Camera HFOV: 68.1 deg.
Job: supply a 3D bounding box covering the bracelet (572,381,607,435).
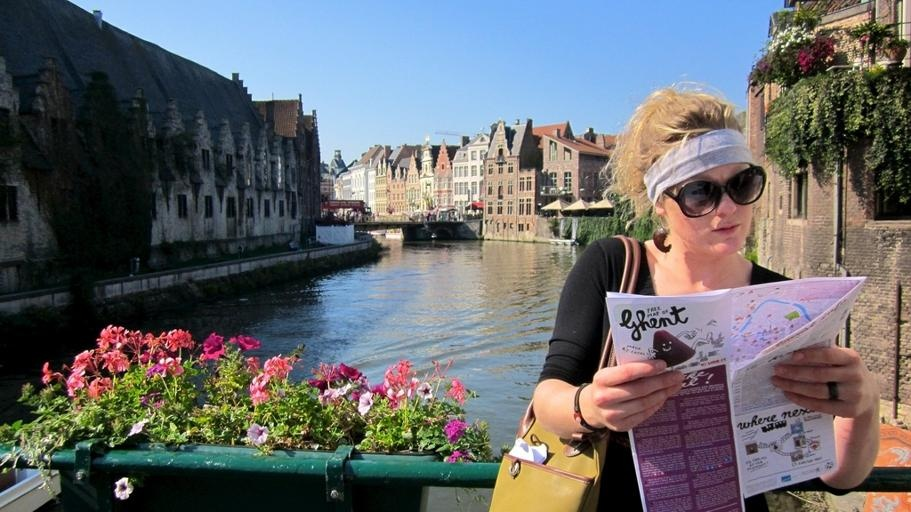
[{"bbox_3d":[0.912,1.078,4.720,0.090,0.305,0.316,-27,5,24],"label":"bracelet"}]
